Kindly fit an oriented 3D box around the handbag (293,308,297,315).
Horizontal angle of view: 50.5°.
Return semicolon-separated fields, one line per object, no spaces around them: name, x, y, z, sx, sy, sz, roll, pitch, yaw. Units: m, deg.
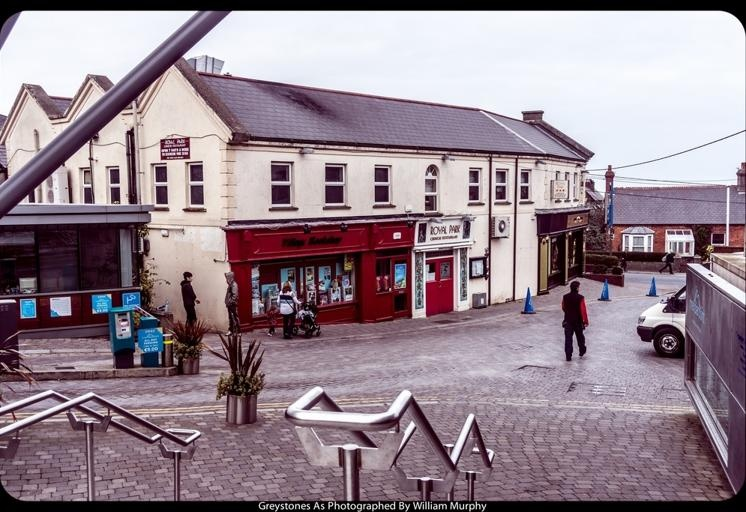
handbag;-2.428;1.778;24.658;0.088;0.132;0.134;1;0;19

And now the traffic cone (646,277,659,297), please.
traffic cone;14.837;1.700;42.056;0.760;1.095;0.757;1;-2;-31

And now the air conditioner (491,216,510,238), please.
air conditioner;5.540;-1.260;34.457;0.291;0.926;1.492;-2;2;34

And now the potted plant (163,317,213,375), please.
potted plant;-4.352;2.248;18.745;0.863;1.116;0.861;-2;-4;16

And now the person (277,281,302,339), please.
person;-2.621;1.695;24.762;0.659;1.241;0.678;-3;2;-6

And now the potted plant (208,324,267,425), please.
potted plant;-2.436;2.265;14.439;0.895;1.534;0.815;1;-2;-18

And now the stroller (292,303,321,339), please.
stroller;-2.261;2.138;25.495;0.731;1.194;1.153;-2;-7;20
